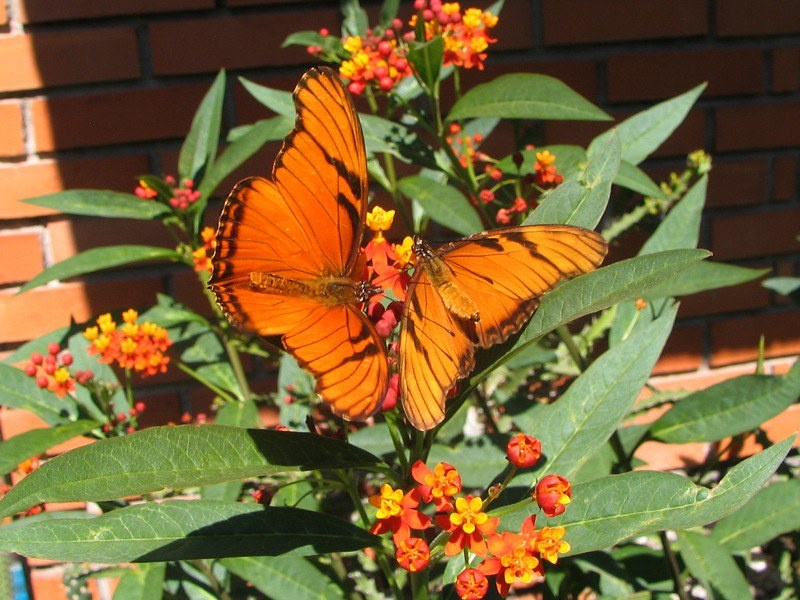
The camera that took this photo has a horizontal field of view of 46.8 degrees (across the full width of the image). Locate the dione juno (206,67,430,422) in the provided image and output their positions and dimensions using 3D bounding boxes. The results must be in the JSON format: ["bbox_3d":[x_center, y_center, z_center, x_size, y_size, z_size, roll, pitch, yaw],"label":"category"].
[{"bbox_3d":[-0.218,-0.037,2.163,0.440,0.413,0.931,3,-52,24],"label":"dione juno"}]
